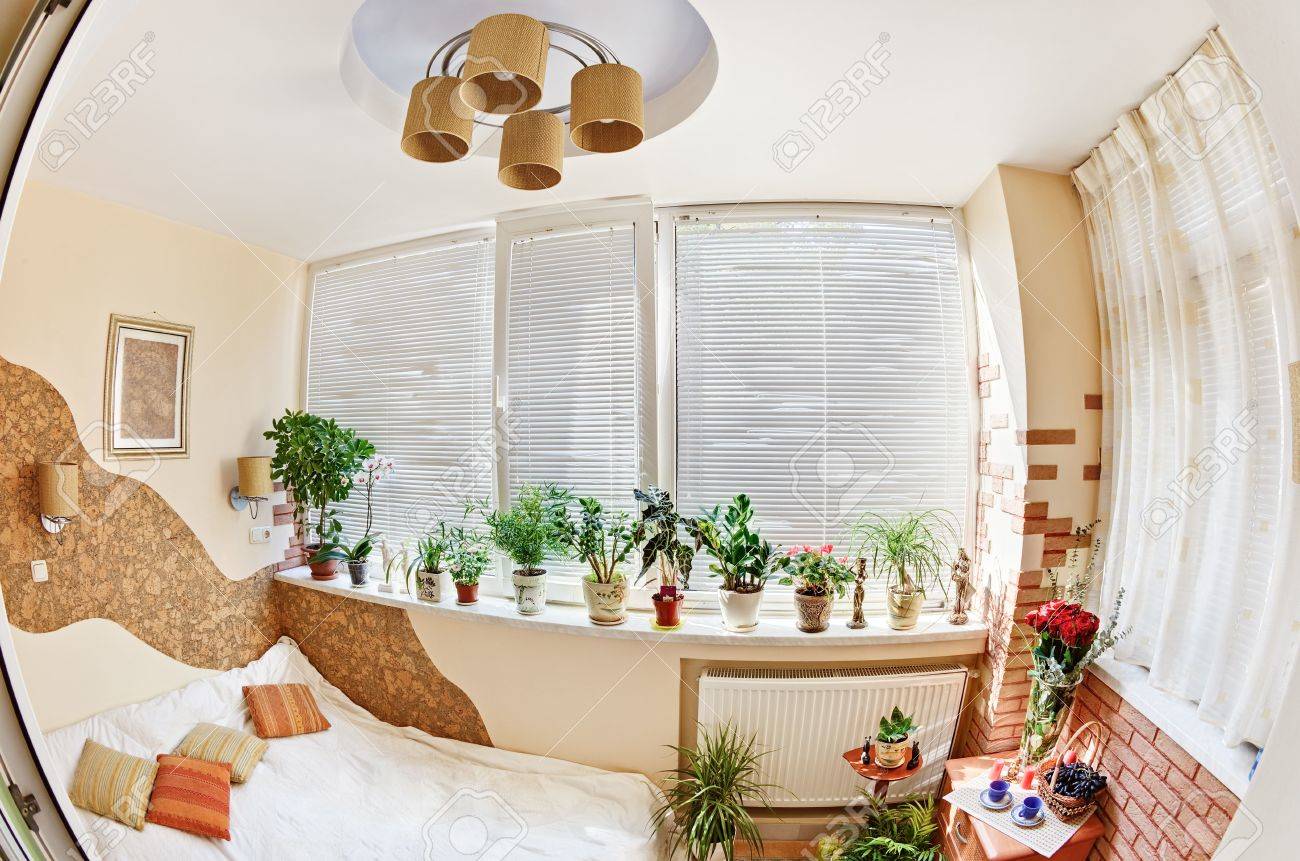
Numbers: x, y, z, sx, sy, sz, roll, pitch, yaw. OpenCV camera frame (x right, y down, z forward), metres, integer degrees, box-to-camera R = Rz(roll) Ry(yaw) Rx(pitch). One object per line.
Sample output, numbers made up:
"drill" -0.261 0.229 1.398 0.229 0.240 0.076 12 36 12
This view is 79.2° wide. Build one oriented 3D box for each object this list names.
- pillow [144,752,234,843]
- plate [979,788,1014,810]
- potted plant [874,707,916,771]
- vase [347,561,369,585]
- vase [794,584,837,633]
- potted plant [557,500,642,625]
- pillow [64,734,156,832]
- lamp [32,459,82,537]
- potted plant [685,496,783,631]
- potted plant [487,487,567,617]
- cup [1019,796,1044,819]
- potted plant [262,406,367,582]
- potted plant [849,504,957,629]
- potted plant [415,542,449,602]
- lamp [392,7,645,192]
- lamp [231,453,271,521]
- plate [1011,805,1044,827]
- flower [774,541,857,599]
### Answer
"pillow" -2.091 1.686 3.626 0.351 0.109 0.367 26 16 -25
"plate" 1.524 1.618 3.483 0.120 0.081 0.077 -1 -7 -11
"potted plant" 1.164 1.452 3.784 0.196 0.278 0.261 0 -4 11
"vase" -1.639 0.794 4.436 0.103 0.150 0.106 2 -4 -16
"vase" 0.806 0.879 3.923 0.213 0.186 0.209 2 -4 -4
"potted plant" -0.261 0.662 4.141 0.449 0.650 0.307 1 -4 0
"pillow" -2.420 1.599 3.559 0.431 0.298 0.128 13 -29 3
"lamp" -2.782 0.319 3.718 0.162 0.339 0.208 3 -4 -36
"potted plant" 0.438 0.661 4.056 0.443 0.681 0.290 0 -4 9
"potted plant" -0.663 0.623 4.196 0.459 0.667 0.312 0 -4 7
"cup" 1.636 1.625 3.404 0.070 0.064 0.088 0 2 -3
"potted plant" -1.904 0.358 4.568 0.578 0.913 0.468 2 -4 -21
"potted plant" 1.328 0.669 4.047 0.588 0.551 0.558 0 -1 4
"potted plant" -1.203 0.752 4.335 0.156 0.346 0.248 2 -4 -16
"lamp" -0.556 -1.294 3.132 0.823 0.292 0.835 -10 -20 30
"lamp" -2.179 0.312 4.376 0.232 0.354 0.197 4 -5 -44
"plate" 1.627 1.654 3.399 0.135 0.089 0.045 1 -4 -1
"flower" 0.834 0.703 3.997 0.371 0.249 0.192 0 -4 9
